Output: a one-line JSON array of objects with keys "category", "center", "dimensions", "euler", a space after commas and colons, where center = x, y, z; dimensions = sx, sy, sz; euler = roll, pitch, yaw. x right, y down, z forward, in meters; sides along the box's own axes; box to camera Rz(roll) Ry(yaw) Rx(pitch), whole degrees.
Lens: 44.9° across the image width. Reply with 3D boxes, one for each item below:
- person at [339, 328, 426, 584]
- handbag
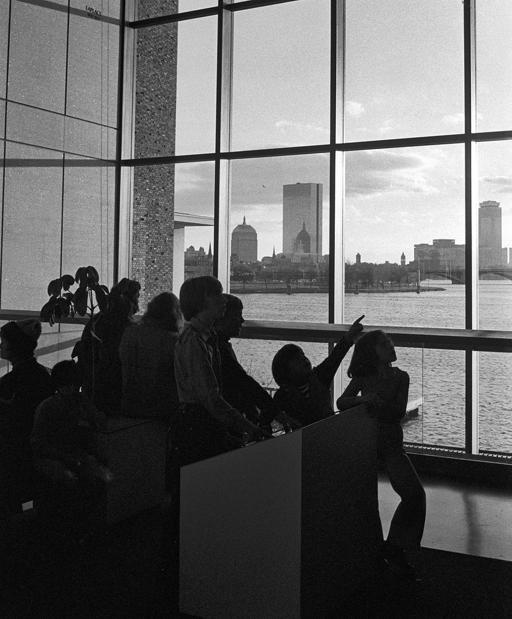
[{"category": "person", "center": [0.456, 0.547, 2.293], "dimensions": [0.406, 0.909, 0.124], "euler": [-1, 4, -28]}, {"category": "handbag", "center": [-0.142, 0.286, 1.466], "dimensions": [0.023, 0.131, 0.109], "euler": [1, 0, 31]}]
